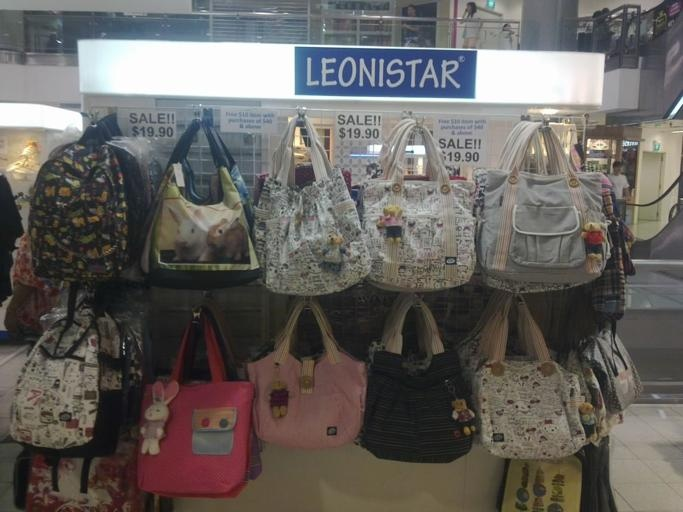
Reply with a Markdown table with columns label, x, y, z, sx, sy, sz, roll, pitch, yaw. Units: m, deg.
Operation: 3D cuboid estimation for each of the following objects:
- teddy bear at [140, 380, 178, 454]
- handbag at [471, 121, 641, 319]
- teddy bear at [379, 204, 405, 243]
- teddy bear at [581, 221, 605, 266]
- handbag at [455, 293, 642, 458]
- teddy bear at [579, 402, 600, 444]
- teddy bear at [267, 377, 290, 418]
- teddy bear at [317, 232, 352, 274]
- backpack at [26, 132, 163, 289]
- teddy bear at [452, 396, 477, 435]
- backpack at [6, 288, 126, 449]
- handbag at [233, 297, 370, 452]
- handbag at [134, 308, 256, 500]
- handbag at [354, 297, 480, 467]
| label | x | y | z | sx | sy | sz | roll | pitch | yaw |
| --- | --- | --- | --- | --- | --- | --- | --- | --- | --- |
| teddy bear | -0.950 | 0.815 | 3.223 | 0.136 | 0.327 | 0.239 | 8 | 20 | 29 |
| handbag | 1.133 | -0.148 | 3.335 | 0.833 | 1.086 | 0.547 | 0 | 17 | 8 |
| teddy bear | 0.256 | -0.164 | 3.197 | 0.157 | 0.241 | 0.080 | -1 | -18 | 5 |
| teddy bear | 1.265 | -0.077 | 3.145 | 0.129 | 0.186 | 0.070 | 1 | 1 | -2 |
| handbag | 1.100 | 0.642 | 3.467 | 0.764 | 0.842 | 0.428 | -4 | -22 | -13 |
| teddy bear | 1.343 | 0.895 | 3.388 | 0.079 | 0.237 | 0.122 | -2 | 16 | 28 |
| teddy bear | -0.333 | 0.752 | 3.331 | 0.100 | 0.177 | 0.102 | -2 | 17 | 1 |
| teddy bear | -0.041 | -0.039 | 3.115 | 0.149 | 0.223 | 0.121 | 1 | 3 | 2 |
| backpack | -1.297 | -0.252 | 3.171 | 0.514 | 0.660 | 0.284 | -2 | 17 | -1 |
| teddy bear | 0.647 | 0.836 | 3.295 | 0.139 | 0.172 | 0.115 | -2 | 17 | -1 |
| backpack | -1.428 | 0.585 | 3.243 | 0.585 | 0.719 | 0.346 | -9 | 18 | -22 |
| handbag | -0.232 | 0.655 | 3.429 | 0.787 | 1.052 | 0.264 | 0 | -3 | 3 |
| handbag | -0.774 | 0.770 | 3.268 | 0.625 | 0.852 | 0.501 | -3 | 17 | -4 |
| handbag | 0.415 | 0.637 | 3.398 | 0.627 | 0.764 | 0.560 | 0 | 17 | 5 |
